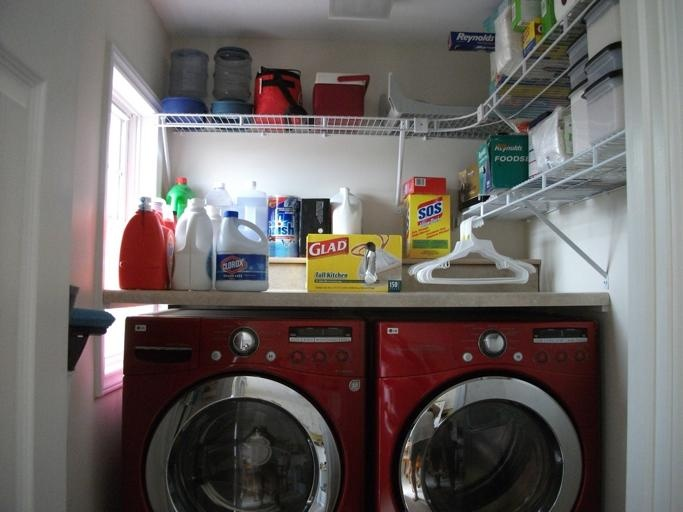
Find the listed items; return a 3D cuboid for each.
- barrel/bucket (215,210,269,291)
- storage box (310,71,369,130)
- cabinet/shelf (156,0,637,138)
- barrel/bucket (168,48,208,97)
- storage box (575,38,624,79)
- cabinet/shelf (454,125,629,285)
[{"bbox_3d":[-0.360,-0.016,2.035,0.186,0.291,0.092,0,-4,-8],"label":"barrel/bucket"},{"bbox_3d":[-0.013,-0.755,2.913,0.258,0.274,0.274,2,1,0],"label":"storage box"},{"bbox_3d":[0.256,-0.667,2.685,1.789,0.260,0.945,-2,-4,28],"label":"cabinet/shelf"},{"bbox_3d":[-0.758,-0.884,2.876,0.216,0.253,0.229,2,5,0],"label":"barrel/bucket"},{"bbox_3d":[0.842,-0.629,1.838,0.066,0.055,0.102,2,-12,-13],"label":"storage box"},{"bbox_3d":[0.879,-0.134,2.262,0.324,0.456,0.987,0,-3,-12],"label":"cabinet/shelf"}]
